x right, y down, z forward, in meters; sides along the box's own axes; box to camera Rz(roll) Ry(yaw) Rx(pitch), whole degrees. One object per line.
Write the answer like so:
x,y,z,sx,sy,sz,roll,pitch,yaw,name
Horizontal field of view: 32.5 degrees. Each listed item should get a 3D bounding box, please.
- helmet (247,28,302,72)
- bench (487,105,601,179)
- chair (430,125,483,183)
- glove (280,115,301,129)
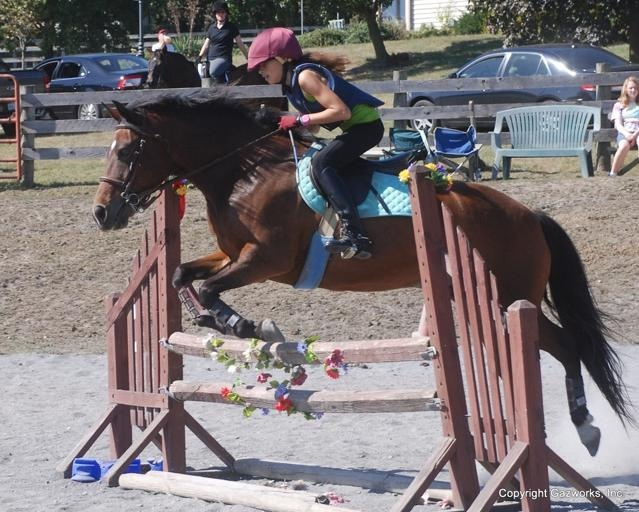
-0.375,-1.490,8.015,0.407,0.185,0.259,-10,7,-13,helmet
2.864,-1.412,13.875,1.382,0.749,0.595,-1,-2,6,bench
1.731,-1.244,13.731,0.887,0.834,0.850,0,6,1,chair
-0.216,-0.971,8.109,0.136,0.084,0.059,-7,-26,33,glove
